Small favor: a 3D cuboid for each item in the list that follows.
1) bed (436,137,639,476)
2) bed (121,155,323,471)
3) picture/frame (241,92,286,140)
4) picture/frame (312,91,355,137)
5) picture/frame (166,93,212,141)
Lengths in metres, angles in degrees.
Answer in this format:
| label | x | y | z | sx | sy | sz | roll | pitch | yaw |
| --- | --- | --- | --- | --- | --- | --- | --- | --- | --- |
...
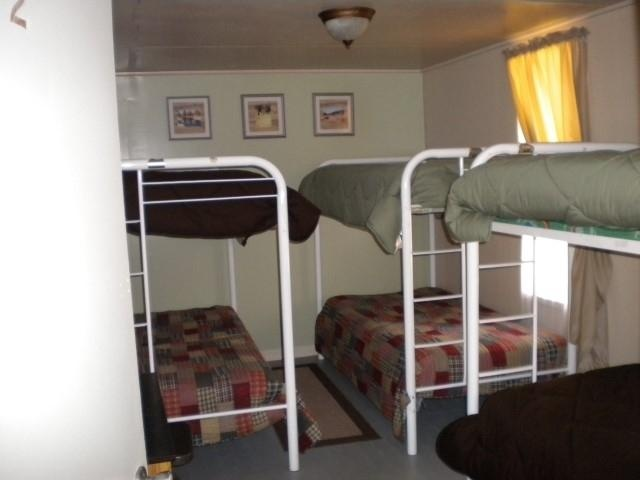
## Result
| label | x | y | z | sx | sy | sz | roll | pitch | yaw |
| --- | --- | --- | --- | --- | --- | --- | --- | --- | --- |
| bed | 1.044 | 0.244 | 2.623 | 0.697 | 1.416 | 1.600 | -1 | 7 | 14 |
| bed | -0.530 | 0.413 | 3.346 | 1.121 | 1.794 | 1.501 | -5 | 7 | -20 |
| picture/frame | -0.532 | -1.138 | 4.984 | 0.414 | 0.430 | 0.029 | -4 | 20 | -9 |
| picture/frame | 0.102 | -1.190 | 5.126 | 0.401 | 0.405 | 0.032 | -2 | 13 | -7 |
| picture/frame | -1.165 | -1.098 | 4.837 | 0.391 | 0.402 | 0.030 | -3 | 14 | -12 |
